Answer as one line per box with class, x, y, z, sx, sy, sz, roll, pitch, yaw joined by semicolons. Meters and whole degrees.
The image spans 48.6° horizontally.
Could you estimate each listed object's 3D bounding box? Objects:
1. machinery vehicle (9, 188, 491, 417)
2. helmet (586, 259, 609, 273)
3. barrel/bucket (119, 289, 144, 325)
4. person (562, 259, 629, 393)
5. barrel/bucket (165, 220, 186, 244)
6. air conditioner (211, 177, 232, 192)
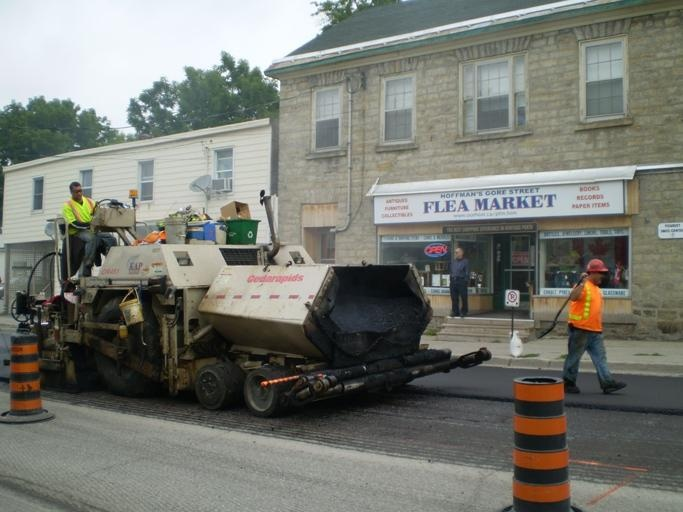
machinery vehicle;-2.417;1.115;13.380;6.926;3.179;3.943;-4;-4;34
helmet;4.843;0.189;14.286;0.328;0.177;0.287;-3;6;8
barrel/bucket;-3.403;0.839;12.236;0.289;0.599;0.482;-6;7;-44
person;4.127;1.169;12.494;0.841;2.154;0.520;2;6;18
barrel/bucket;-2.953;-0.388;13.467;0.425;0.438;0.373;-2;-4;35
air conditioner;-3.917;-2.311;24.587;0.771;0.532;0.426;3;7;28
